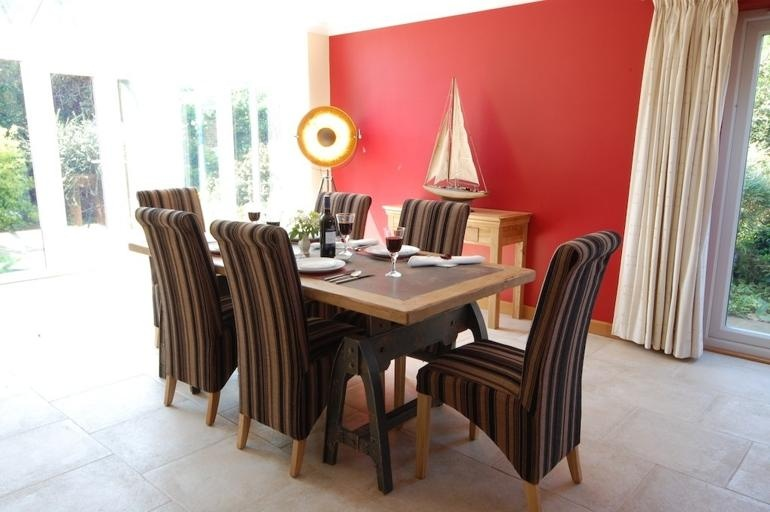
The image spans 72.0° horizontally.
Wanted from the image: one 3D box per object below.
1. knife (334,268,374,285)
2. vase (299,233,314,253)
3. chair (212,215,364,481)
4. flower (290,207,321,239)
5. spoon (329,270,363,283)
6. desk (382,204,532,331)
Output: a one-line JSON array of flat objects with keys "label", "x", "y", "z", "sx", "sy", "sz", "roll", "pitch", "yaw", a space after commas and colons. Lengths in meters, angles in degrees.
[{"label": "knife", "x": -0.178, "y": 0.110, "z": 3.090, "sx": 0.079, "sy": 0.013, "sz": 0.224, "roll": 9, "pitch": 12, "yaw": 32}, {"label": "vase", "x": -0.521, "y": -0.077, "z": 3.590, "sx": 0.110, "sy": 0.163, "sz": 0.108, "roll": 1, "pitch": 7, "yaw": 15}, {"label": "chair", "x": -0.567, "y": 0.511, "z": 3.007, "sx": 0.664, "sy": 1.433, "sz": 0.415, "roll": -6, "pitch": 14, "yaw": -16}, {"label": "flower", "x": -0.541, "y": -0.220, "z": 3.562, "sx": 0.199, "sy": 0.171, "sz": 0.199, "roll": 7, "pitch": 13, "yaw": 35}, {"label": "spoon", "x": -0.228, "y": 0.126, "z": 3.073, "sx": 0.067, "sy": 0.035, "sz": 0.255, "roll": 15, "pitch": 18, "yaw": 29}, {"label": "desk", "x": 0.524, "y": 0.067, "z": 3.683, "sx": 1.009, "sy": 0.873, "sz": 0.429, "roll": 9, "pitch": 16, "yaw": 42}]
